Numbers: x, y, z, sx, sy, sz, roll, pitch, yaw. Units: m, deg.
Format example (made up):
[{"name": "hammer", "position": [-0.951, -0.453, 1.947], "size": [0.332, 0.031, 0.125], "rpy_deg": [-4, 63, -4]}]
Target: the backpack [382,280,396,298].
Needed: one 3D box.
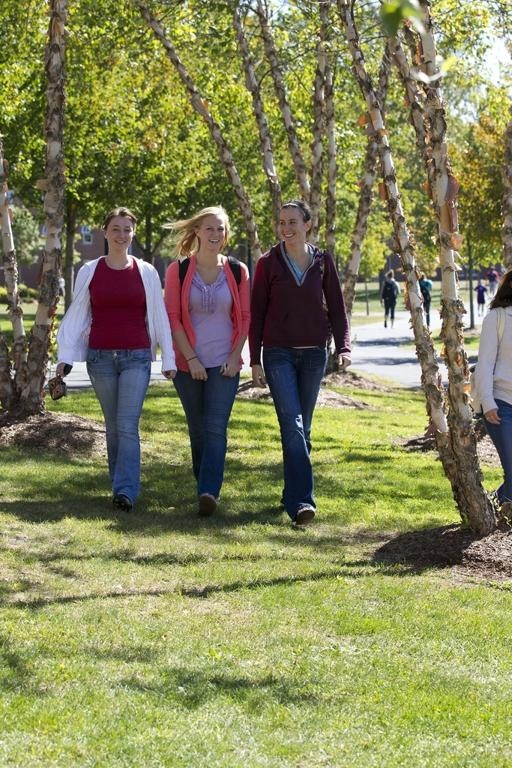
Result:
[{"name": "backpack", "position": [4.740, -3.309, 36.481], "size": [0.438, 0.631, 0.750], "rpy_deg": [3, 5, 2]}]

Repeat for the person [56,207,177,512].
[{"name": "person", "position": [-0.912, -0.149, 6.766], "size": [0.787, 1.994, 0.670], "rpy_deg": [2, 5, -5]}]

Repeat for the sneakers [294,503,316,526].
[{"name": "sneakers", "position": [0.319, 0.842, 6.706], "size": [0.081, 0.085, 0.188], "rpy_deg": [5, -38, -10]}]

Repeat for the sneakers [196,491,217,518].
[{"name": "sneakers", "position": [-0.326, 0.803, 6.822], "size": [0.083, 0.091, 0.203], "rpy_deg": [4, -42, 2]}]

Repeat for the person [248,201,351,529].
[{"name": "person", "position": [0.288, -0.131, 6.780], "size": [0.676, 2.097, 0.486], "rpy_deg": [2, 5, -8]}]

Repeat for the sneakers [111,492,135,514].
[{"name": "sneakers", "position": [-0.834, 0.745, 6.517], "size": [0.076, 0.073, 0.160], "rpy_deg": [-33, -12, -12]}]
